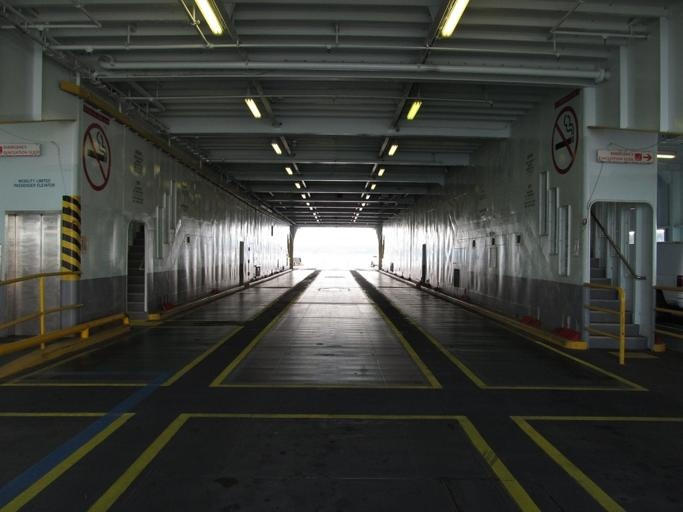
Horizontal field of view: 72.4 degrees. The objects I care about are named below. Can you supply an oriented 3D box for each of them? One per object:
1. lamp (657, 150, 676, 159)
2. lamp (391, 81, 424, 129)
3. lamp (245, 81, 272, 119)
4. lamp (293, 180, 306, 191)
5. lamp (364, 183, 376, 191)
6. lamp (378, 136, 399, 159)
[{"bbox_3d":[9.425,-2.949,13.491,0.551,0.141,0.577,2,1,20],"label":"lamp"},{"bbox_3d":[1.593,-3.746,11.639,0.667,0.750,2.253,1,8,6],"label":"lamp"},{"bbox_3d":[-1.978,-3.834,11.450,0.582,0.613,2.423,0,8,-8],"label":"lamp"},{"bbox_3d":[-1.954,-3.294,21.778,0.537,0.345,0.905,0,8,-7],"label":"lamp"},{"bbox_3d":[1.383,-3.295,22.217,0.544,0.352,1.177,1,8,4],"label":"lamp"},{"bbox_3d":[1.491,-3.502,15.009,0.696,0.496,2.449,1,8,6],"label":"lamp"}]
